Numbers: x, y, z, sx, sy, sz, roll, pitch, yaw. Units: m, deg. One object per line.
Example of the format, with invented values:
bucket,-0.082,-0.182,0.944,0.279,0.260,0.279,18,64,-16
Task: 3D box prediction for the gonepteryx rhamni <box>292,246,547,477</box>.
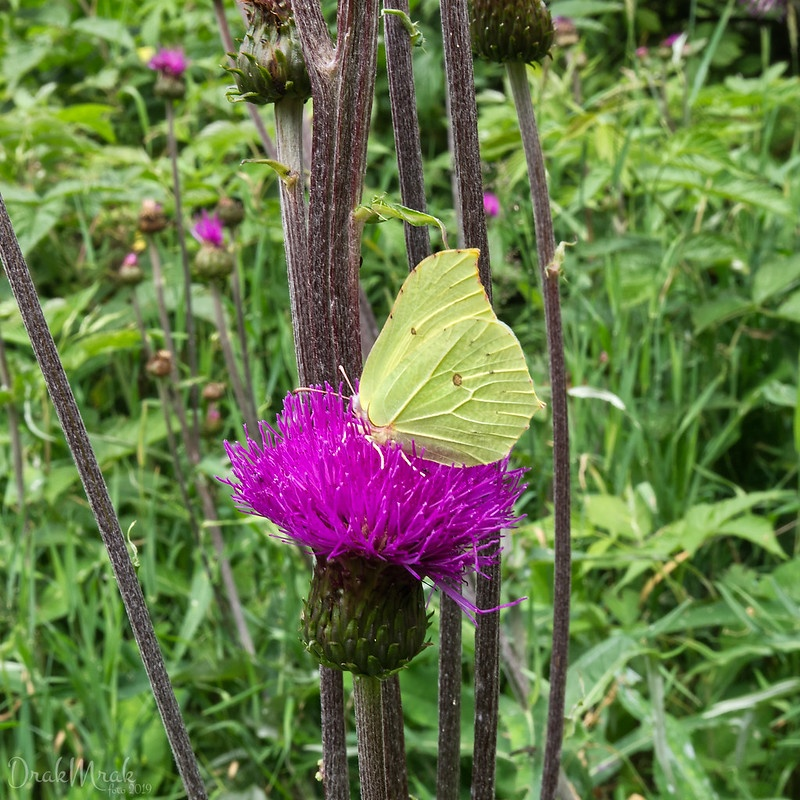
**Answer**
gonepteryx rhamni,0.019,-0.052,2.210,0.399,0.498,0.284,22,-12,-9
